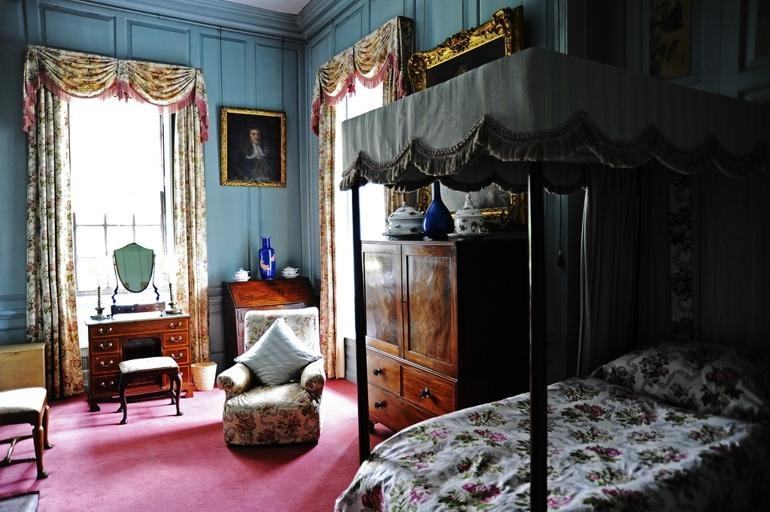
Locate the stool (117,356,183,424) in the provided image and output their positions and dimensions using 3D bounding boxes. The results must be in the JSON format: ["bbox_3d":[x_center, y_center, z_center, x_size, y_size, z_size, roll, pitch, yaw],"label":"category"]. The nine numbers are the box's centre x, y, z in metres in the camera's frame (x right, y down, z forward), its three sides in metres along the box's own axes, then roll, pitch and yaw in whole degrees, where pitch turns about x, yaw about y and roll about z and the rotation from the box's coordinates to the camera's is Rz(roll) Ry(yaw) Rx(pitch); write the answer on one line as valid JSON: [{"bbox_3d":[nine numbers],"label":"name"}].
[{"bbox_3d":[-2.700,1.465,6.513,0.693,0.662,0.676,-2,4,-38],"label":"stool"}]

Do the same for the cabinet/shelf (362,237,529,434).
[{"bbox_3d":[0.482,0.799,5.686,0.892,1.966,1.422,-7,7,-38],"label":"cabinet/shelf"}]

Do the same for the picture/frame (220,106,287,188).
[{"bbox_3d":[-1.933,-1.567,8.087,1.118,1.420,0.100,0,-1,-32],"label":"picture/frame"}]

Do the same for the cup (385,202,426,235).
[{"bbox_3d":[0.187,-0.378,5.671,0.282,0.271,0.298,-1,3,0],"label":"cup"}]

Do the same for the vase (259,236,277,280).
[{"bbox_3d":[-1.681,0.022,8.018,0.221,0.570,0.303,-3,10,-14],"label":"vase"}]

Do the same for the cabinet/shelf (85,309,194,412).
[{"bbox_3d":[-3.137,1.270,7.219,1.168,1.092,0.686,-3,5,-34],"label":"cabinet/shelf"}]

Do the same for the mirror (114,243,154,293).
[{"bbox_3d":[-3.252,0.156,7.279,0.571,0.821,0.101,-2,2,-25],"label":"mirror"}]

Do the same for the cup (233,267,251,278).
[{"bbox_3d":[-1.986,0.230,7.882,0.157,0.134,0.135,-5,4,-26],"label":"cup"}]

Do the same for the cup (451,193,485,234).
[{"bbox_3d":[0.716,-0.378,5.197,0.316,0.462,0.330,-1,-3,0],"label":"cup"}]
